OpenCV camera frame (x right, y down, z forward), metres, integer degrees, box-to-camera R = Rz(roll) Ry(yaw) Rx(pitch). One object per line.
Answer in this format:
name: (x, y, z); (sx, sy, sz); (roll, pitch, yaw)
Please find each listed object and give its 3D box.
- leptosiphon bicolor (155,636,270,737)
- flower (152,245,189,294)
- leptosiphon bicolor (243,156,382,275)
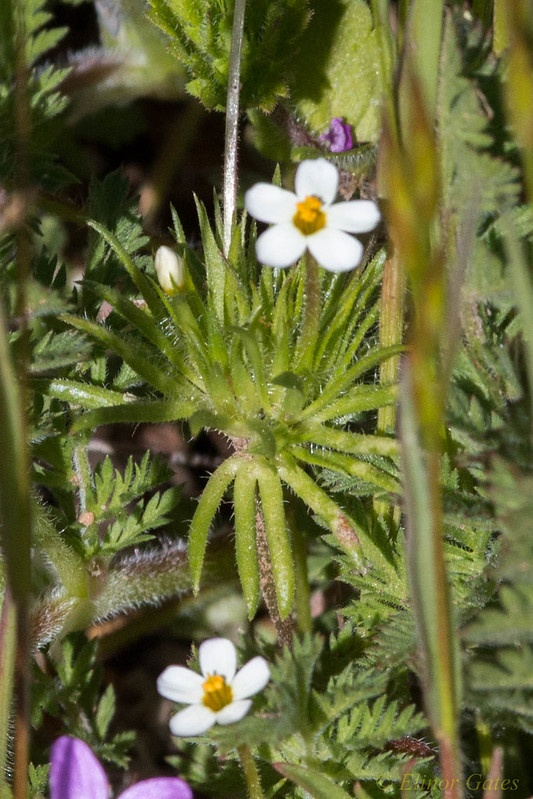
leptosiphon bicolor: (-0.054, 0.290, 0.766); (0.102, 0.108, 0.100); (-14, 56, -17)
flower: (-0.118, -0.156, 0.921); (0.036, 0.069, 0.032); (26, 54, 13)
leptosiphon bicolor: (0.047, -0.186, 0.756); (0.135, 0.036, 0.176); (5, 55, -4)
